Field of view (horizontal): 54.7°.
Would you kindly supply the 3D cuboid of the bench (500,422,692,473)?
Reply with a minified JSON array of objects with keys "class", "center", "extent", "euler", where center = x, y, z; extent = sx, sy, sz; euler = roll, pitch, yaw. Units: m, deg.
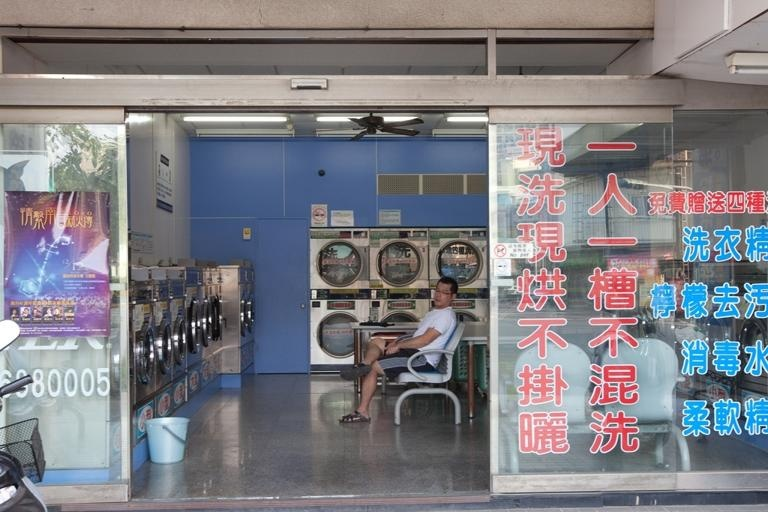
[{"class":"bench","center":[1.692,1.513,5.928],"extent":[1.487,0.405,0.058],"euler":[0,5,0]}]

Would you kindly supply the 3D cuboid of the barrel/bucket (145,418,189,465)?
[{"class":"barrel/bucket","center":[-1.945,1.662,6.669],"extent":[0.395,0.276,0.370],"euler":[-1,-11,0]}]

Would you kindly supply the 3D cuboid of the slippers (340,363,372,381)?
[{"class":"slippers","center":[-0.273,1.161,7.404],"extent":[0.248,0.159,0.368],"euler":[2,5,21]}]

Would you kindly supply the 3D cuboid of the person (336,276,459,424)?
[{"class":"person","center":[0.286,0.989,8.366],"extent":[1.629,1.935,1.127],"euler":[3,-5,2]}]

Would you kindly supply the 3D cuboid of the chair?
[{"class":"chair","center":[0.468,1.287,8.000],"extent":[1.029,1.271,0.949],"euler":[2,-8,-2]}]

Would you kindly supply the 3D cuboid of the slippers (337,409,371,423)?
[{"class":"slippers","center":[-0.305,1.639,7.672],"extent":[0.281,0.106,0.132],"euler":[3,-6,-1]}]

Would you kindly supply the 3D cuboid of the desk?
[{"class":"desk","center":[0.528,1.210,7.871],"extent":[1.061,0.985,1.514],"euler":[1,-8,0]}]

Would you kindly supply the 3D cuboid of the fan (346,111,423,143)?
[{"class":"fan","center":[0.007,-1.498,8.389],"extent":[0.737,0.205,1.041],"euler":[0,5,-2]}]

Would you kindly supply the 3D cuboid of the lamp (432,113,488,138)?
[{"class":"lamp","center":[0.994,-1.729,9.919],"extent":[0.730,0.218,0.907],"euler":[0,5,3]}]
